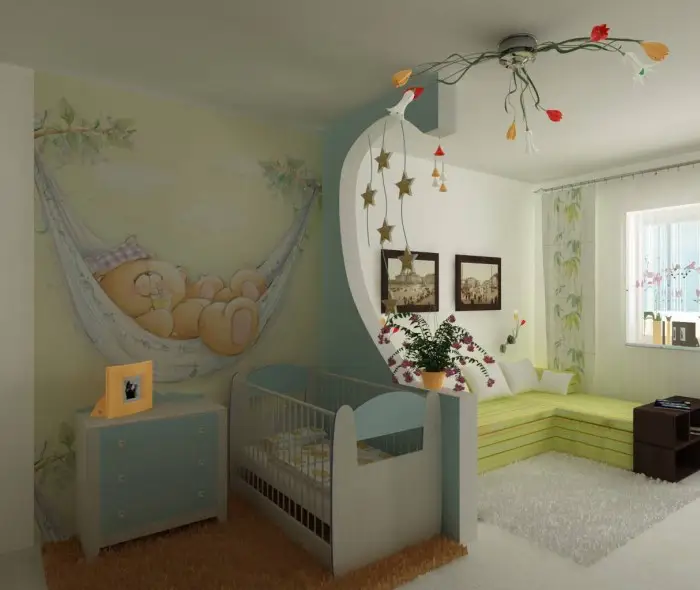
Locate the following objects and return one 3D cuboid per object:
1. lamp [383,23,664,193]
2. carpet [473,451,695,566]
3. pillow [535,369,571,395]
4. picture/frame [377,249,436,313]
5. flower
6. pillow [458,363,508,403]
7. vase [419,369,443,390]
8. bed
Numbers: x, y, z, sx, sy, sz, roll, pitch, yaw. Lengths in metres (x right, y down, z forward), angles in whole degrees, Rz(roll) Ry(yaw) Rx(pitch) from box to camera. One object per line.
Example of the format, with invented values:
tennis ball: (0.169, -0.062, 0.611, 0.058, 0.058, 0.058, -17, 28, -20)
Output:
lamp: (1.140, -0.992, 3.309, 1.133, 0.457, 1.013, -5, -1, 42)
carpet: (1.633, 1.522, 4.107, 1.634, 0.070, 1.157, -5, 9, -34)
pillow: (2.131, 0.912, 5.759, 0.238, 0.261, 0.118, 3, -22, 35)
picture/frame: (0.502, -0.132, 5.044, 0.570, 0.542, 0.042, 1, -2, -42)
flower: (0.592, 0.428, 4.147, 0.839, 0.495, 0.895, 0, 0, 13)
pillow: (1.346, 0.887, 5.437, 0.497, 0.409, 0.156, 0, -15, -44)
vase: (0.546, 0.564, 3.687, 0.120, 0.096, 0.124, 0, -4, -3)
bed: (-0.171, 1.020, 3.810, 0.917, 0.954, 1.324, -2, 3, -34)
